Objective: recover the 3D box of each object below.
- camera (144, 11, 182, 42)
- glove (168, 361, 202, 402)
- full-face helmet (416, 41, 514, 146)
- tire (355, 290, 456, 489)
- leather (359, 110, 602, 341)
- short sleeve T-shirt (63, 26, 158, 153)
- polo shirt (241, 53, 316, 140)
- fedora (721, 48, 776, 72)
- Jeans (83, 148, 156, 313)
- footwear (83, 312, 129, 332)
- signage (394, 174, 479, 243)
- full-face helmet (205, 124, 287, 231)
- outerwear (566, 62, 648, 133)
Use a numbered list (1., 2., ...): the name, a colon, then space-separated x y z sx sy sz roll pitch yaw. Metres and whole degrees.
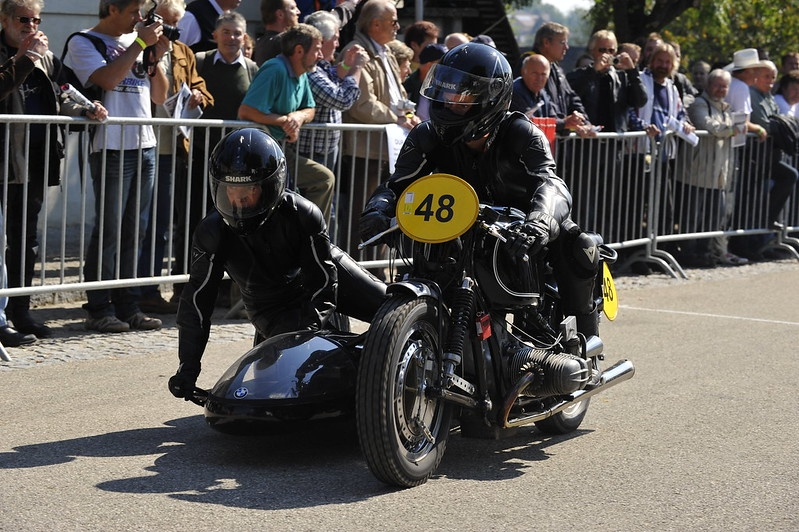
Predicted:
1. camera: -2.056 -2.110 10.627 0.274 0.253 0.159 37 -19 -13
2. glove: -1.464 0.808 8.368 0.247 0.154 0.340 -16 13 6
3. full-face helmet: 0.501 -1.164 8.244 0.553 0.575 0.704 14 34 38
4. tire: 0.067 0.818 7.777 0.702 1.252 0.276 -2 7 -39
5. leather: 0.751 -0.474 8.768 1.154 1.608 1.538 -1 6 37
6. short sleeve T-shirt: -2.483 -1.622 10.881 0.568 1.090 0.888 8 15 36
7. polo shirt: -1.104 -1.598 11.193 0.389 0.761 0.825 23 18 33
8. fedora: 4.272 -2.535 14.891 0.461 0.186 0.392 -7 21 4
9. Jeans: -2.440 -0.295 10.709 0.616 1.522 0.438 1 6 -21
10. footwear: -2.533 0.498 10.585 0.381 0.150 0.152 0 1 6
11. signage: 0.255 -0.369 7.961 0.494 0.458 0.051 5 -26 16
12. full-face helmet: -1.058 -0.668 8.617 0.561 0.641 0.696 2 23 7
13. outerwear: 2.296 -1.874 13.486 0.794 0.843 0.492 5 -18 -26
